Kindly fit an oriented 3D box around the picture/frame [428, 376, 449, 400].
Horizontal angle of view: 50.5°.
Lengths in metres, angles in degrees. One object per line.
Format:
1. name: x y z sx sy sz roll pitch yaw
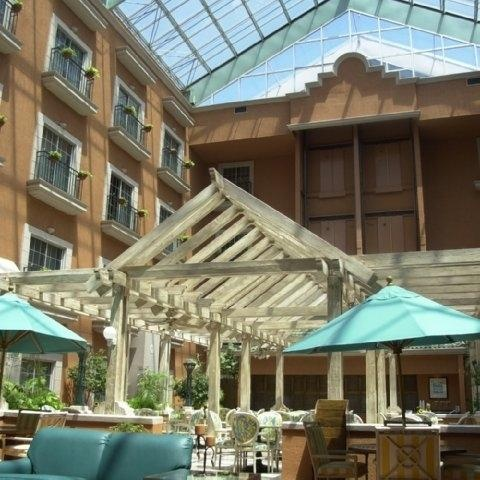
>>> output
1. picture/frame: 7.806 5.792 19.885 0.803 1.097 0.099 -1 -17 23
